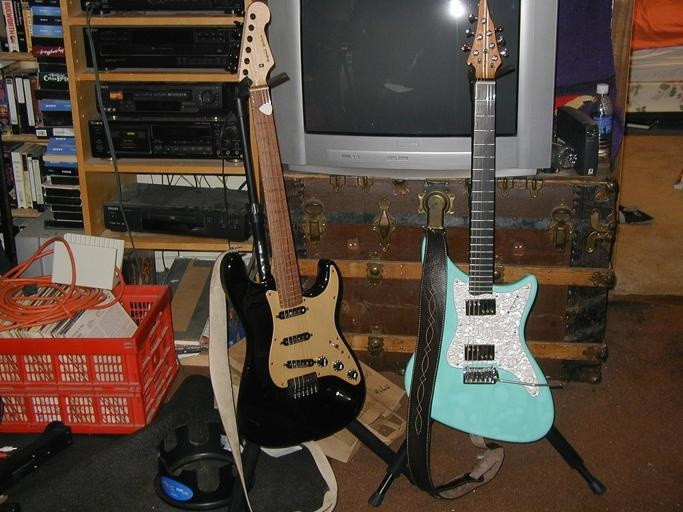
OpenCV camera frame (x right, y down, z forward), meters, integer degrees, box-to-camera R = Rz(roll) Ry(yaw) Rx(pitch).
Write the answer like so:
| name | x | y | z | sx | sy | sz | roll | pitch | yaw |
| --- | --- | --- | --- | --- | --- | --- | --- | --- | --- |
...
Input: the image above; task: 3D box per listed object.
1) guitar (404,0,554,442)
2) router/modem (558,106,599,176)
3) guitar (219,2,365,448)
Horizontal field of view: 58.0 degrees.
| name | x | y | z | sx | sy | sz | roll | pitch | yaw |
| --- | --- | --- | --- | --- | --- | --- | --- | --- | --- |
| guitar | 0.542 | -0.090 | 2.175 | 0.427 | 1.552 | 0.245 | 2 | 15 | 18 |
| router/modem | 0.990 | -0.483 | 2.587 | 0.088 | 0.269 | 0.255 | -3 | 15 | -2 |
| guitar | -0.197 | -0.089 | 2.275 | 0.509 | 1.607 | 0.240 | -6 | 15 | -13 |
